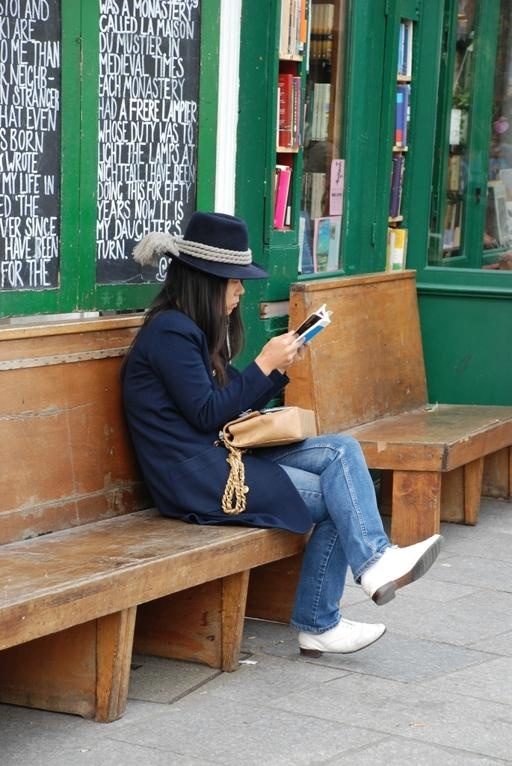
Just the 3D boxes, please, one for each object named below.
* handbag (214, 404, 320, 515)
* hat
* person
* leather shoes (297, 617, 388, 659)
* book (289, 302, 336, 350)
[{"bbox_3d":[0.032,0.243,2.410,0.225,0.334,0.367,0,-2,40],"label":"handbag"},{"bbox_3d":[-0.197,-0.437,2.426,0.321,0.159,0.239,16,12,21],"label":"hat"},{"bbox_3d":[0.017,0.173,2.409,0.975,1.433,0.450,1,-1,13],"label":"person"},{"bbox_3d":[0.276,0.818,2.495,0.303,0.139,0.112,-12,15,15],"label":"leather shoes"},{"bbox_3d":[0.176,-0.177,2.397,0.188,0.044,0.103,-42,-7,3],"label":"book"}]
